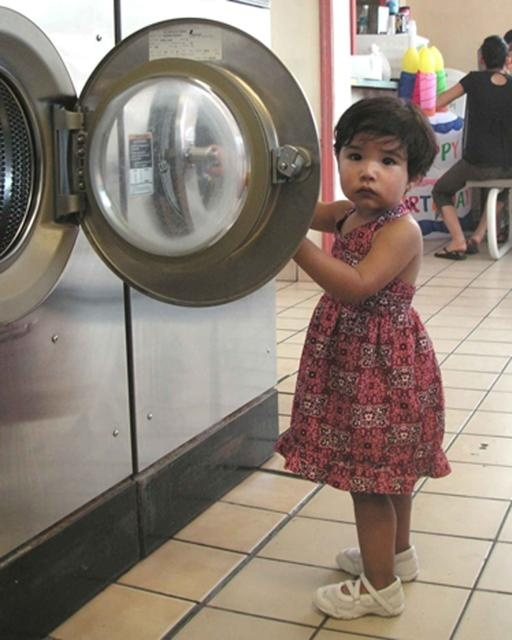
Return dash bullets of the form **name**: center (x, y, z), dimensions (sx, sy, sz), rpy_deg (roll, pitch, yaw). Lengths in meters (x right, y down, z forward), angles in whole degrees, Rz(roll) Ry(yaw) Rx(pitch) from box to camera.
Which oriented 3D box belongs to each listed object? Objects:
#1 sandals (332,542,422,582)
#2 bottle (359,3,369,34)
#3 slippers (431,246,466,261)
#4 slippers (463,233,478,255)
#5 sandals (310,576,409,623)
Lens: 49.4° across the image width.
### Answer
- **sandals**: center (0.202, 0.389, 0.938), dimensions (0.146, 0.061, 0.052), rpy_deg (3, 4, 19)
- **bottle**: center (0.824, -2.288, 4.244), dimensions (0.096, 0.210, 0.049), rpy_deg (2, 11, 21)
- **slippers**: center (1.402, -0.470, 3.963), dimensions (0.182, 0.051, 0.098), rpy_deg (12, 17, 43)
- **slippers**: center (1.618, -0.557, 4.136), dimensions (0.108, 0.105, 0.283), rpy_deg (-1, 5, 14)
- **sandals**: center (0.152, 0.411, 0.812), dimensions (0.130, 0.054, 0.056), rpy_deg (4, 3, 3)
